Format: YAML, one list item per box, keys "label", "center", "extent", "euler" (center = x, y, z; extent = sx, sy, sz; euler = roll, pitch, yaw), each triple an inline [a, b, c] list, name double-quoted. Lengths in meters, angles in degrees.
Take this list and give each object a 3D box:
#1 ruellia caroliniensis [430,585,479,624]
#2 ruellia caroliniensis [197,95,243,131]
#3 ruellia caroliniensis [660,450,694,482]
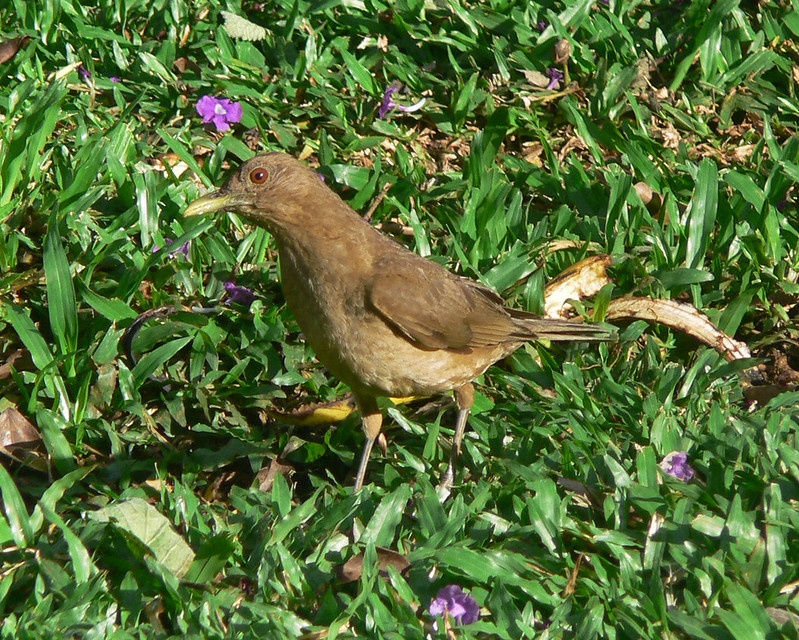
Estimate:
- label: "ruellia caroliniensis"
  center: [0.197, 1.034, 2.796]
  extent: [0.137, 0.061, 0.146]
  euler: [-18, 62, -26]
- label: "ruellia caroliniensis"
  center: [-1.110, -1.300, 4.812]
  extent: [0.248, 0.065, 0.242]
  euler: [-8, 75, -20]
- label: "ruellia caroliniensis"
  center: [1.210, 0.650, 3.407]
  extent: [0.117, 0.059, 0.129]
  euler: [-36, 73, -3]
